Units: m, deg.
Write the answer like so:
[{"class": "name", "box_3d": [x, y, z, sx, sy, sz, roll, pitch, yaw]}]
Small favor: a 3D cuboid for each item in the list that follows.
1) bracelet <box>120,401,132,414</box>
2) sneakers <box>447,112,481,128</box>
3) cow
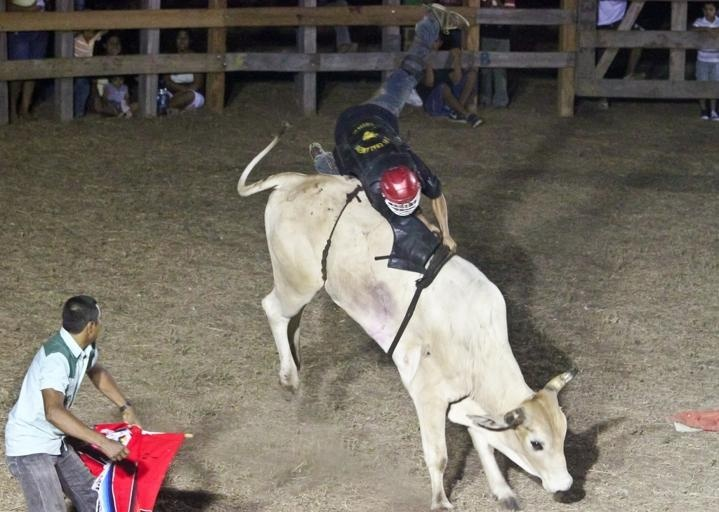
[{"class": "bracelet", "box_3d": [-1.832, 1.197, 7.045, 0.080, 0.031, 0.079, -29, 12, 29]}, {"class": "sneakers", "box_3d": [1.516, -1.979, 12.795, 0.480, 0.202, 0.176, 8, 34, 33]}, {"class": "cow", "box_3d": [0.471, 0.725, 7.766, 3.118, 2.554, 0.829, 16, 21, 39]}]
